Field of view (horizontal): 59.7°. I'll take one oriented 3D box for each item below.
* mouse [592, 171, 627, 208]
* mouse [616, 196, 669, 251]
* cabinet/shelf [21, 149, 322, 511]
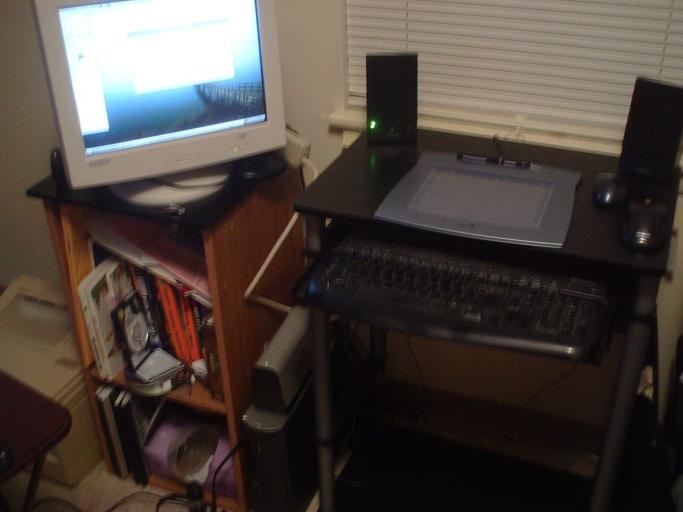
[{"bbox_3d":[0.723,-0.179,1.594,0.079,0.049,0.132,13,35,22],"label":"mouse"},{"bbox_3d":[0.750,-0.065,1.474,0.082,0.033,0.146,9,54,24],"label":"mouse"},{"bbox_3d":[-0.515,0.252,1.898,0.660,1.202,0.777,9,43,9],"label":"cabinet/shelf"}]
